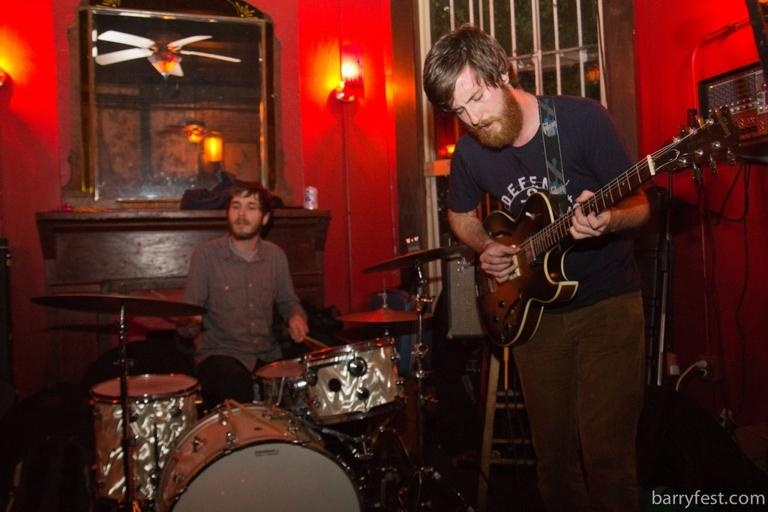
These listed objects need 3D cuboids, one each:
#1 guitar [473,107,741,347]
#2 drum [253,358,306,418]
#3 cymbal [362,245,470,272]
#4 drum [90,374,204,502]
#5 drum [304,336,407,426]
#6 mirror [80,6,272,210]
[{"bbox_3d":[0.967,-0.102,3.683,0.223,0.859,1.820,10,-28,-30],"label":"guitar"},{"bbox_3d":[-0.654,0.797,4.187,0.330,0.269,0.341,1,1,0],"label":"drum"},{"bbox_3d":[0.260,0.005,4.507,0.338,0.078,0.341,-14,2,-26],"label":"cymbal"},{"bbox_3d":[-1.508,1.042,4.191,0.655,0.663,0.677,0,0,4],"label":"drum"},{"bbox_3d":[-0.190,0.750,4.026,0.486,0.347,0.520,-7,-3,0],"label":"drum"},{"bbox_3d":[-1.911,-1.286,5.867,1.740,2.029,0.153,-1,2,-14],"label":"mirror"}]
